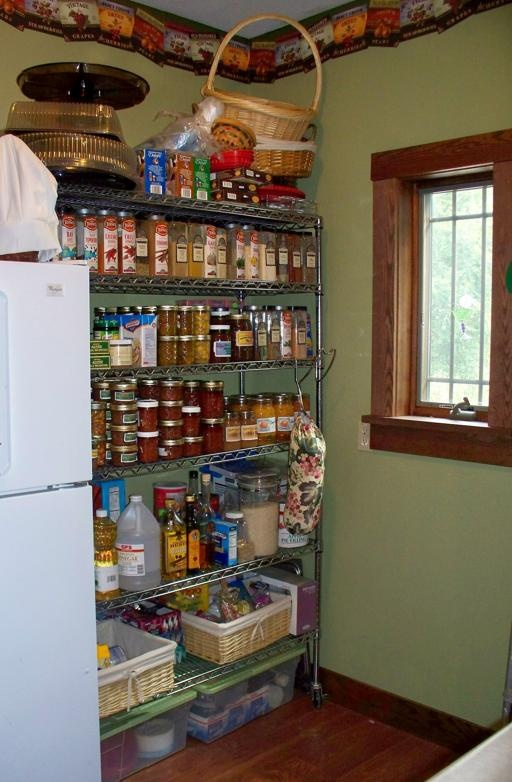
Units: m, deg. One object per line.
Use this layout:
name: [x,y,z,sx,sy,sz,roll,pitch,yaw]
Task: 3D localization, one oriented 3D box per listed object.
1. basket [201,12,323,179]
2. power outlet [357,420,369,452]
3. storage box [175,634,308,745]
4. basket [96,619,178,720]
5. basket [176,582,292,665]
basket: [0.040,-0.998,2.126,0.442,0.517,0.208,0,3,-31]
power outlet: [0.403,0.173,2.366,0.032,0.110,0.069,1,3,-17]
storage box: [-0.015,1.041,2.226,0.247,0.167,0.379,9,15,41]
basket: [-0.399,0.804,1.897,0.221,0.119,0.299,-3,0,-37]
basket: [-0.055,0.770,2.190,0.211,0.118,0.302,2,4,39]
